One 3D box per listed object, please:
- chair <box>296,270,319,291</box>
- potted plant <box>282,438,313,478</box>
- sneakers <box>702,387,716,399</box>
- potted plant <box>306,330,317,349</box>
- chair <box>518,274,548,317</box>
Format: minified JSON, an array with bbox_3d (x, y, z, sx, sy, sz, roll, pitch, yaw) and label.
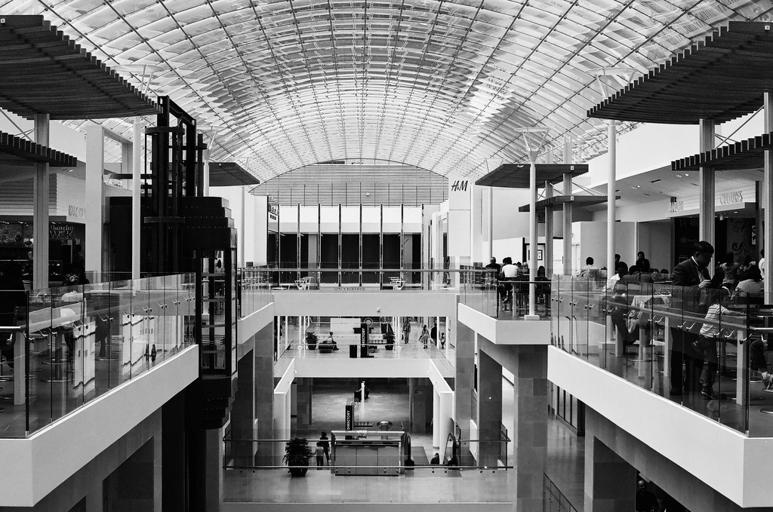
[{"bbox_3d":[-4.053,1.211,35.998,1.351,1.007,0.578,-1,0,-22],"label":"chair"},{"bbox_3d":[-3.670,8.407,29.326,1.315,1.345,1.329,7,7,39],"label":"potted plant"},{"bbox_3d":[5.331,2.279,11.572,0.172,0.178,0.318,-1,-10,13],"label":"sneakers"},{"bbox_3d":[-4.907,5.556,45.764,0.836,1.215,0.953,2,-5,-2],"label":"potted plant"},{"bbox_3d":[4.936,1.313,23.206,1.168,1.561,1.164,0,-9,3],"label":"chair"}]
